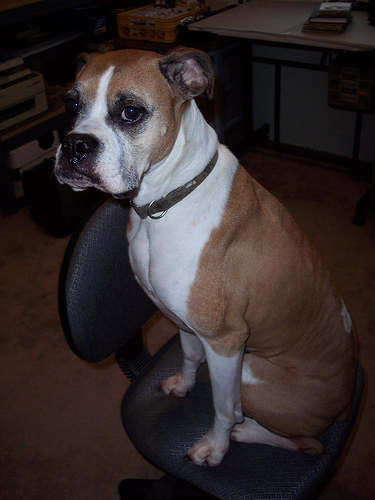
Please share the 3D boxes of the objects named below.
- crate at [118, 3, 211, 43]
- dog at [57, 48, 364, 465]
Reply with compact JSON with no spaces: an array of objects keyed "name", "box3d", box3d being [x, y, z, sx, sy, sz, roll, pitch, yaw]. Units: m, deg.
[{"name":"crate","box3d":[-0.174,-1.861,3.574,0.494,0.237,0.849,-30,40,-35]},{"name":"dog","box3d":[0.104,0.050,1.227,0.763,1.102,0.635,19,41,33]}]
